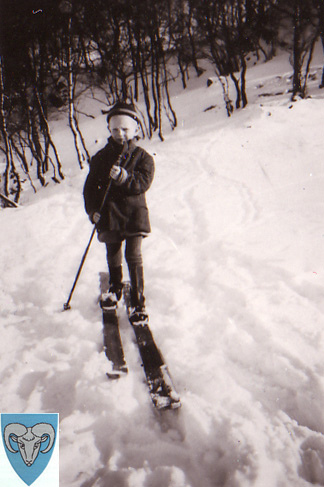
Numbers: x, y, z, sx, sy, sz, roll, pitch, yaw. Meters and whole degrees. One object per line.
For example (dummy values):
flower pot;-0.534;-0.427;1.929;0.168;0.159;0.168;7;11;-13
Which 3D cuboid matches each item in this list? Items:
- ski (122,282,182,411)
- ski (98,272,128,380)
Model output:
ski;-0.049;1.073;4.122;0.235;0.215;0.891;-14;25;-9
ski;-0.548;0.690;4.910;0.221;0.138;2.554;23;11;-15
